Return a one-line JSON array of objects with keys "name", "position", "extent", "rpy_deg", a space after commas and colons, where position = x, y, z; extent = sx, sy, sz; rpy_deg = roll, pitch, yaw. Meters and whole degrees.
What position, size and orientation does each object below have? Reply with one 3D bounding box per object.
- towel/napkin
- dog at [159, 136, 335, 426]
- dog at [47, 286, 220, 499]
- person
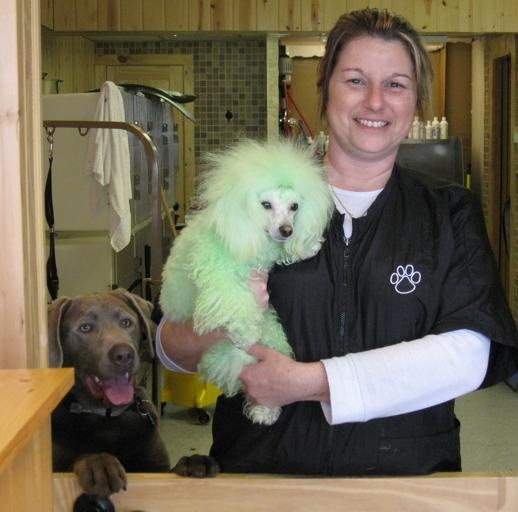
[{"name": "towel/napkin", "position": [-0.914, -0.578, 3.786], "extent": [0.179, 0.879, 0.213], "rpy_deg": [-21, 25, -27]}, {"name": "dog", "position": [-0.013, 0.027, 1.444], "extent": [0.371, 0.679, 0.209], "rpy_deg": [-15, -18, 28]}, {"name": "dog", "position": [-0.529, 0.384, 1.932], "extent": [0.337, 0.556, 0.897], "rpy_deg": [-7, -1, -29]}, {"name": "person", "position": [0.190, -0.028, 1.406], "extent": [0.691, 1.067, 0.440], "rpy_deg": [-2, 8, -9]}]
